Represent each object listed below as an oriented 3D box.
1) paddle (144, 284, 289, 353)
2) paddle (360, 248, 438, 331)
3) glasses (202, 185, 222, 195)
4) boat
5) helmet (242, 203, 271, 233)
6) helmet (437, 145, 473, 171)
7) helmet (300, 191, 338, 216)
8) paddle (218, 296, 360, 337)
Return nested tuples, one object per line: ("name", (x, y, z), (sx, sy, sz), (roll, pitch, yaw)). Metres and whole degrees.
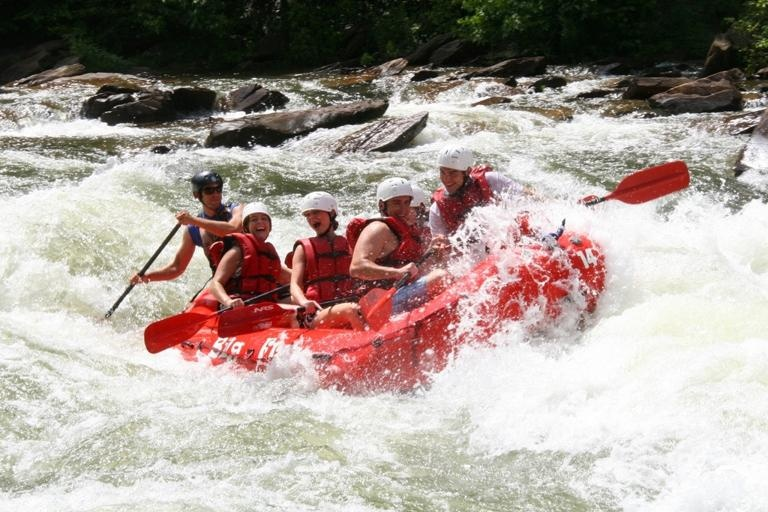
("paddle", (-1.653, 0.567, 7.780), (2.263, 0.363, 0.101), (-19, -34, 23))
("paddle", (0.134, 0.353, 7.436), (0.825, 0.259, 0.046), (-35, -3, -15))
("glasses", (-1.985, -0.762, 8.743), (0.141, 0.119, 0.036), (-2, 44, -24))
("boat", (0.160, 0.682, 7.458), (3.563, 0.787, 1.704), (-17, -4, 20))
("helmet", (-1.436, -0.464, 8.496), (0.297, 0.237, 0.362), (-6, 9, -5))
("helmet", (0.787, -1.072, 8.177), (0.376, 0.258, 0.258), (-26, 38, -22))
("helmet", (-0.676, -0.553, 8.001), (0.251, 0.171, 0.335), (6, 12, 39))
("paddle", (-1.010, 0.571, 7.845), (1.588, 0.095, 0.315), (-12, 49, 3))
